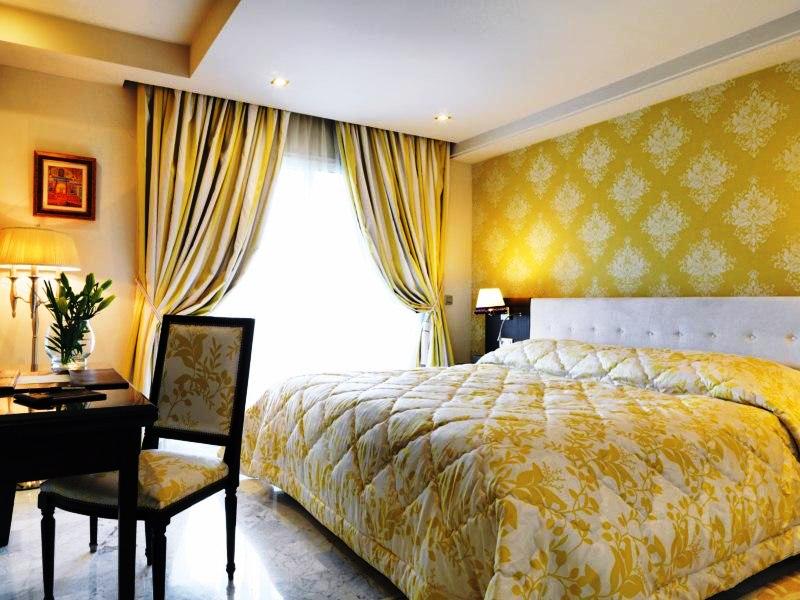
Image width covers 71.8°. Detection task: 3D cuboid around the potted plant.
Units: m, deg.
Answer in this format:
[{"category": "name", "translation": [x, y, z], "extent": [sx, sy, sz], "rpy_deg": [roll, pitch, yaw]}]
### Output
[{"category": "potted plant", "translation": [-1.536, 0.094, 2.601], "extent": [0.286, 0.440, 0.323], "rpy_deg": [-1, 5, -9]}]

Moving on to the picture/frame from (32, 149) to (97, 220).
[{"category": "picture/frame", "translation": [-2.548, -0.851, 4.180], "extent": [0.367, 0.537, 0.055], "rpy_deg": [1, -23, -32]}]

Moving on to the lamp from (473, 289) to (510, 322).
[{"category": "lamp", "translation": [0.898, 0.015, 5.330], "extent": [0.291, 0.310, 0.306], "rpy_deg": [1, 12, 15]}]
